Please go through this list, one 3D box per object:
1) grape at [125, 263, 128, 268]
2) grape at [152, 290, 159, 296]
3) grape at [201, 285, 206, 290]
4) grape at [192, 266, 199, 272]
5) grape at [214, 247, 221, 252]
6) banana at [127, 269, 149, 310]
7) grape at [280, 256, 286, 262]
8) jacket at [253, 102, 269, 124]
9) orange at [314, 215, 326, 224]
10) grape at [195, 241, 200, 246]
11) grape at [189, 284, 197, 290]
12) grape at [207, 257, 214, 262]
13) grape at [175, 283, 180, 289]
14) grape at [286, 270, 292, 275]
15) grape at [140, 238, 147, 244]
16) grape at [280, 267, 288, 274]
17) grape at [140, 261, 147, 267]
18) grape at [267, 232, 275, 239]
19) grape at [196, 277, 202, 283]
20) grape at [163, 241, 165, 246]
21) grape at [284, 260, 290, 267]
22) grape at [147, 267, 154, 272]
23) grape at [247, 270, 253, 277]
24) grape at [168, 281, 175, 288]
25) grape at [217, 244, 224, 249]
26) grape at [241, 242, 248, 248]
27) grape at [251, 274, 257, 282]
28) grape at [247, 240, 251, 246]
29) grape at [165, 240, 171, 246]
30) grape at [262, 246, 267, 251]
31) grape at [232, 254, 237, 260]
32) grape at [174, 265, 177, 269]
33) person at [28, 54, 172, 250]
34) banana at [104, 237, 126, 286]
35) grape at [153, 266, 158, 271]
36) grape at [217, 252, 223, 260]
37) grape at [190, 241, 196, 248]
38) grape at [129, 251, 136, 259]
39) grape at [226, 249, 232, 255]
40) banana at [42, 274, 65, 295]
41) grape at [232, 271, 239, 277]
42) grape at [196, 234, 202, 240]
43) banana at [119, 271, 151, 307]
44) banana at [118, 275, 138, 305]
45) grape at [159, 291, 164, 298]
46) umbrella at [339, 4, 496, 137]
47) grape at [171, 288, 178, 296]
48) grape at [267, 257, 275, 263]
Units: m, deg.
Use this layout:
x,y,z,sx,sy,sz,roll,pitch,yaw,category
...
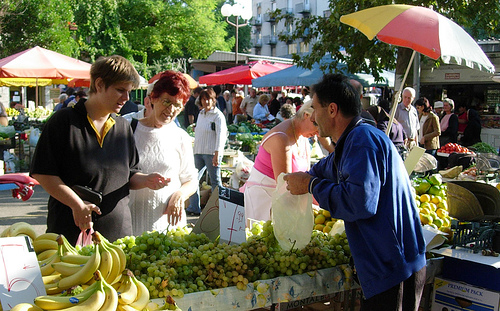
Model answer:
x,y,z,sx,sy,sz,roll,pitch,yaw,category
-0.979,0.870,3.626,0.012,0.025,0.024,8,-33,12,grape
-0.730,1.054,3.519,0.043,0.038,0.038,-17,55,-23,grape
-0.367,1.049,3.649,0.027,0.033,0.035,5,9,28,grape
-0.439,0.908,3.664,0.046,0.041,0.040,9,-15,36,grape
-0.268,0.772,3.759,0.059,0.029,0.042,5,8,25,grape
-0.791,0.947,3.266,0.083,0.247,0.189,-26,50,-3,banana
0.267,0.858,3.786,0.031,0.040,0.018,-16,-1,-19,grape
0.330,-1.313,14.318,0.436,0.793,0.779,2,8,33,jacket
0.716,0.656,4.703,0.082,0.080,0.096,21,27,16,orange
-0.444,0.737,3.833,0.028,0.025,0.024,-19,13,9,grape
-0.450,1.035,3.610,0.041,0.023,0.041,6,-5,-27,grape
-0.320,0.832,3.668,0.033,0.030,0.029,-5,-15,-23,grape
-0.565,1.013,3.544,0.028,0.034,0.029,-27,24,31,grape
0.327,0.972,3.814,0.054,0.043,0.024,-3,8,-28,grape
-0.869,0.697,3.713,0.039,0.022,0.039,34,-53,-26,grape
0.278,0.951,3.797,0.040,0.031,0.053,-7,-1,-3,grape
-0.838,0.851,3.585,0.037,0.048,0.037,1,2,-2,grape
0.182,0.693,3.965,0.040,0.053,0.042,-10,5,-14,grape
-0.412,0.985,3.651,0.034,0.031,0.030,15,20,11,grape
-0.706,0.715,3.725,0.029,0.030,0.014,14,10,31,grape
0.304,0.894,3.800,0.048,0.060,0.020,-3,8,-29,grape
-0.778,0.884,3.553,0.028,0.036,0.030,16,47,11,grape
-0.002,0.964,3.735,0.039,0.023,0.041,8,2,0,grape
-0.610,0.993,3.538,0.041,0.043,0.048,-16,19,-34,grape
-0.253,0.759,3.808,0.031,0.019,0.033,17,1,23,grape
-0.049,0.754,3.863,0.038,0.025,0.040,3,0,33,grape
0.032,1.004,3.757,0.031,0.045,0.034,3,-27,18,grape
-0.011,0.744,3.893,0.034,0.034,0.009,3,-9,-33,grape
-0.670,0.710,3.724,0.036,0.038,0.038,-10,2,4,grape
0.115,0.776,3.830,0.029,0.029,0.034,-42,16,-18,grape
-0.126,0.819,3.683,0.030,0.031,0.031,4,45,-24,grape
-0.591,0.883,3.639,0.027,0.029,0.011,-1,7,-10,grape
-1.345,-0.042,3.961,0.955,1.622,0.440,-6,10,-42,person
-0.987,0.785,3.424,0.072,0.246,0.190,-4,3,-7,banana
-0.736,0.871,3.554,0.034,0.024,0.036,-2,8,-20,grape
-0.249,0.813,3.700,0.032,0.046,0.034,-9,-26,-6,grape
-0.478,0.740,3.819,0.047,0.038,0.062,-1,8,-11,grape
-0.933,0.788,3.619,0.035,0.039,0.048,3,4,-1,grape
-0.171,0.786,3.739,0.056,0.036,0.040,1,8,-3,grape
-1.438,0.927,3.330,0.148,0.079,0.235,-6,28,-23,banana
-0.119,0.952,3.693,0.051,0.045,0.016,0,7,-4,grape
-0.446,0.697,3.924,0.035,0.035,0.040,36,-2,-41,grape
-0.835,0.981,3.292,0.145,0.244,0.156,-7,-32,3,banana
-0.872,0.971,3.308,0.057,0.124,0.186,-13,27,9,banana
-0.687,1.067,3.516,0.028,0.030,0.035,-10,38,12,grape
2.127,-1.120,5.761,1.823,1.521,0.997,-2,8,-22,umbrella
-0.580,1.045,3.514,0.037,0.040,0.044,-15,-13,10,grape
0.171,0.867,3.809,0.046,0.027,0.047,-1,4,-26,grape
